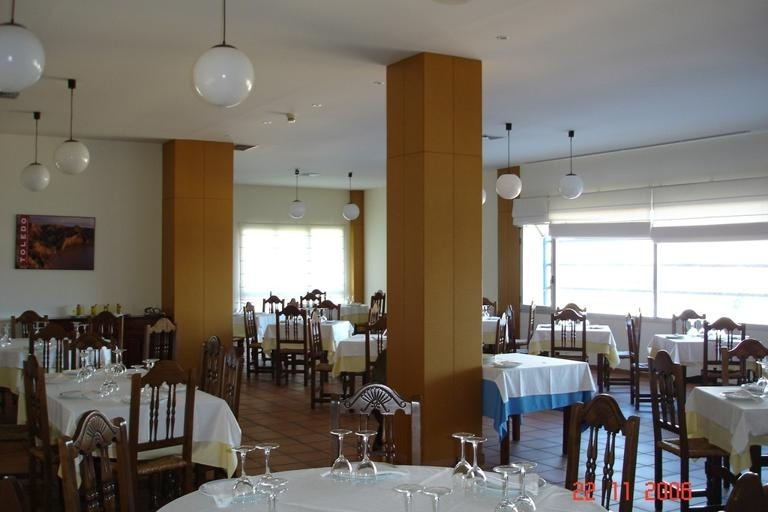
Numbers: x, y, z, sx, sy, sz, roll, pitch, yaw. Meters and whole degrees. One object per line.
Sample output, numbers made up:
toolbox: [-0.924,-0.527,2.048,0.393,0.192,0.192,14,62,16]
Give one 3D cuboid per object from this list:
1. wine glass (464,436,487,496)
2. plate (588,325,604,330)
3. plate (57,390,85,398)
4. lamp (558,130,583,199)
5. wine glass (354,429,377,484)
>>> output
wine glass: [0.530,1.165,3.460,0.113,0.327,0.292,0,-2,9]
plate: [3.318,1.118,9.441,0.125,0.033,0.141,0,-1,-11]
plate: [-2.692,1.195,5.204,0.294,0.043,0.114,0,-2,18]
lamp: [3.179,-1.390,10.222,0.334,0.964,2.358,-1,-2,19]
wine glass: [-0.113,1.168,3.626,0.136,0.301,0.337,0,-2,-1]
